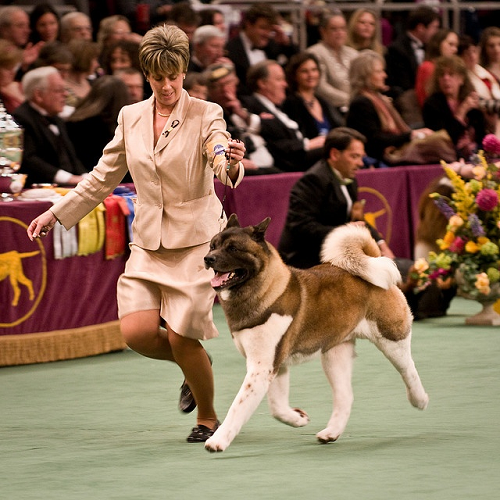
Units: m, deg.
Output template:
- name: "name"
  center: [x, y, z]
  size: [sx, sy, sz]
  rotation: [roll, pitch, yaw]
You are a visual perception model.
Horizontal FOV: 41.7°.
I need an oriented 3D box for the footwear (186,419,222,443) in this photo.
- name: "footwear"
  center: [-0.209, 0.839, 3.044]
  size: [0.077, 0.050, 0.184]
  rotation: [-9, 2, 27]
